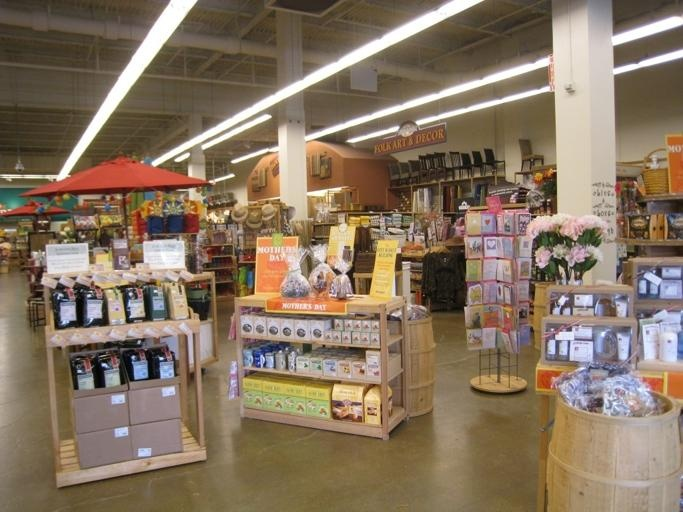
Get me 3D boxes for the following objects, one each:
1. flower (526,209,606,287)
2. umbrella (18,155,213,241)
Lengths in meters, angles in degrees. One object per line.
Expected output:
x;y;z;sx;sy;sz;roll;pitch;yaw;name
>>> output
1.839;-0.097;4.389;0.562;0.615;0.573;0;8;9;flower
-2.574;-0.571;6.322;1.855;1.285;1.852;-10;4;-34;umbrella
